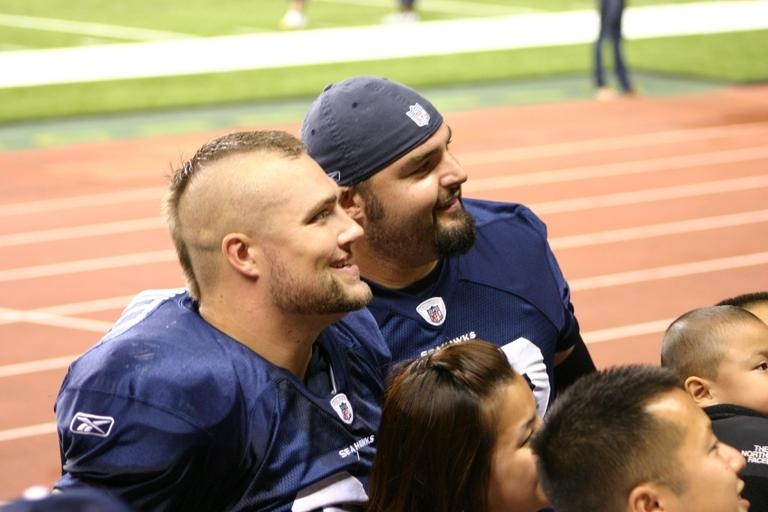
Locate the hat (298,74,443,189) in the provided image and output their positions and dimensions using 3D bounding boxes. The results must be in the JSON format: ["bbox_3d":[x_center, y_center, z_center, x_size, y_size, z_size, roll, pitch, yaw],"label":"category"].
[{"bbox_3d":[-0.041,-0.579,3.902,0.534,0.393,0.746,-27,17,-29],"label":"hat"}]
